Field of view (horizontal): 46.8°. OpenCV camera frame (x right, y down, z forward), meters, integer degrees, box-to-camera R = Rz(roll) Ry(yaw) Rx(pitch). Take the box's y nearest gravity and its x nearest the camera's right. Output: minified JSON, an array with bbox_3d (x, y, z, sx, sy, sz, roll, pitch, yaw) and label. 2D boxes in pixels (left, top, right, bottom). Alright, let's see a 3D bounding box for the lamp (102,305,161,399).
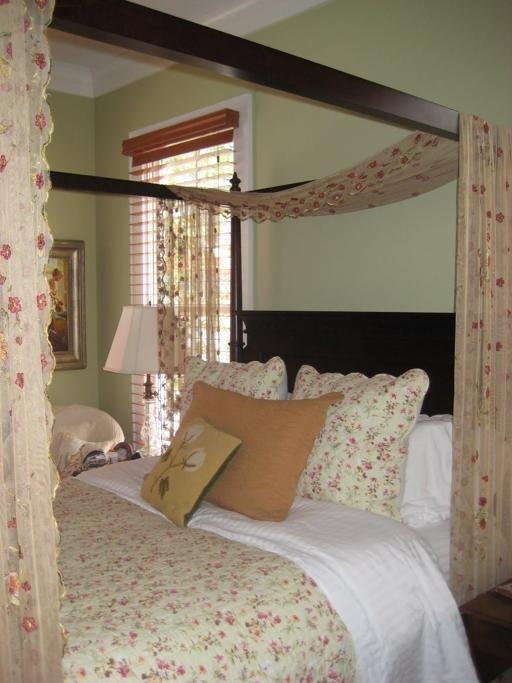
[{"bbox_3d":[-0.580,0.054,3.179,0.383,0.443,0.332,-1,14,-12],"label":"lamp"}]
